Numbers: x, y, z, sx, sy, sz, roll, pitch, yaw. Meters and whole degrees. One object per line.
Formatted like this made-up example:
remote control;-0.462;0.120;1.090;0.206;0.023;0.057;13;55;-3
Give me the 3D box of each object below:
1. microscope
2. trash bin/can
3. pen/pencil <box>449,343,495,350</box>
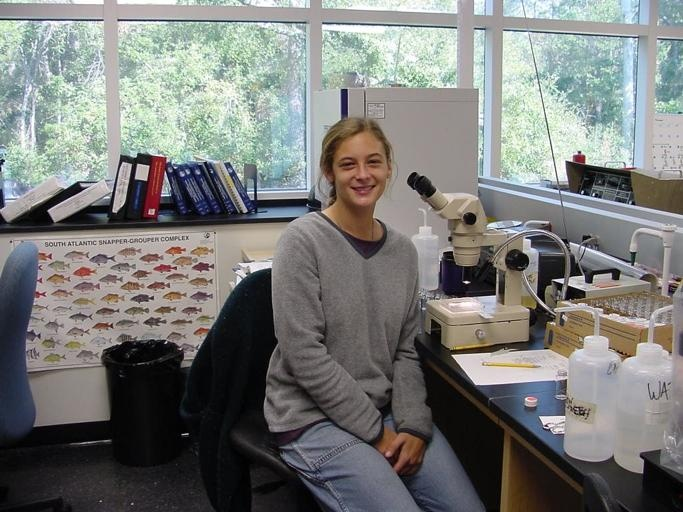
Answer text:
microscope;0.459;0.013;1.926;0.403;0.576;0.304;-3;5;-11
trash bin/can;-1.080;0.791;2.914;0.419;0.578;0.352;-2;11;-12
pen/pencil;0.437;0.312;1.822;0.135;0.017;0.016;-3;3;-10
